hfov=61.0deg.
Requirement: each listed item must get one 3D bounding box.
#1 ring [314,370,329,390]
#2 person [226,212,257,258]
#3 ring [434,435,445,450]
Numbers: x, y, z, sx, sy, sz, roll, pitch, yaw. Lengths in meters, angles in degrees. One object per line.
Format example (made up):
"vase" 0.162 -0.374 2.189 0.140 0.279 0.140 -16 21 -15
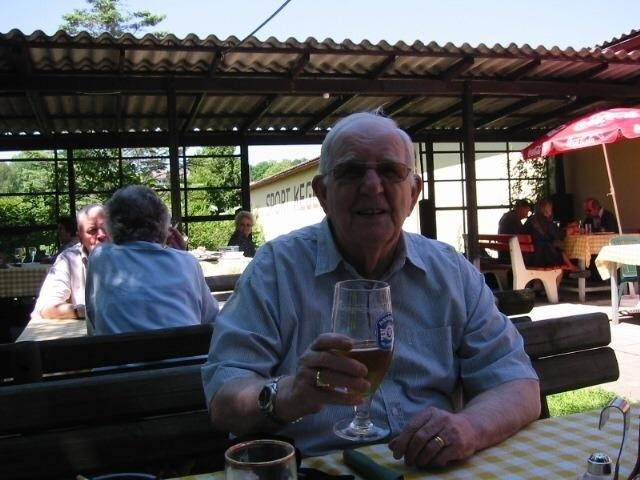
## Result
"ring" 0.007 0.381 1.478 0.017 0.049 0.041 -3 -8 -11
"person" -1.335 -0.104 9.073 0.352 0.672 0.712 -8 -7 36
"ring" 0.336 0.568 1.522 0.023 0.025 0.025 -35 -2 -1
